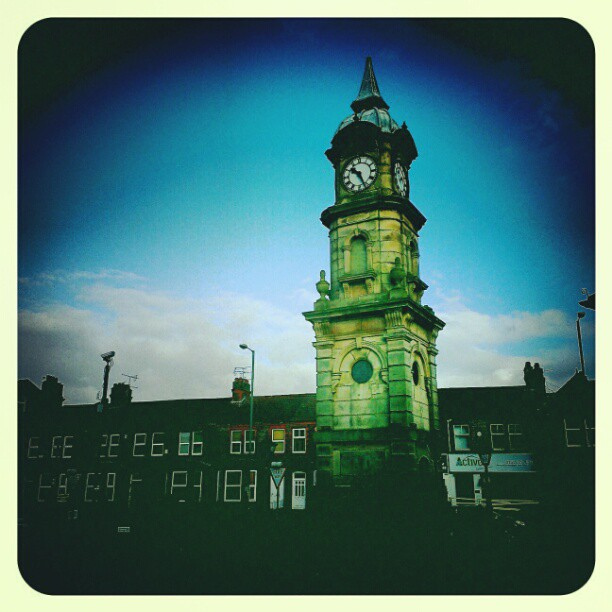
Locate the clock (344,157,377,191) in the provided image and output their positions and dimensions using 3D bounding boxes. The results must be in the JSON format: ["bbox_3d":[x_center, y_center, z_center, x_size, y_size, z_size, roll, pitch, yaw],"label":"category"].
[{"bbox_3d":[1.657,-3.938,22.650,0.777,0.908,0.065,9,-3,13],"label":"clock"}]

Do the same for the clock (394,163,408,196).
[{"bbox_3d":[2.869,-3.861,23.050,0.118,0.832,0.883,-7,-19,26],"label":"clock"}]

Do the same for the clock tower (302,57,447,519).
[{"bbox_3d":[1.940,-0.199,21.768,3.438,12.188,2.674,1,-16,0],"label":"clock tower"}]
